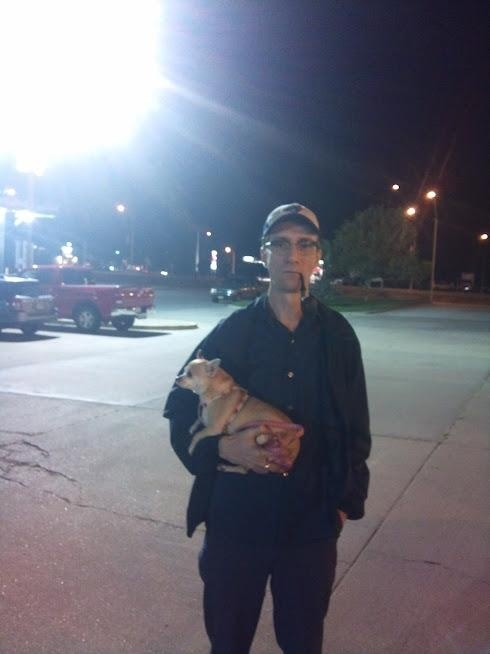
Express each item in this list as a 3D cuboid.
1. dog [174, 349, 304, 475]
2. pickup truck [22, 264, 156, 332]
[{"bbox_3d":[-0.022,0.303,1.553,0.430,0.319,0.268,19,-7,24],"label":"dog"},{"bbox_3d":[-5.908,-0.568,18.081,4.009,2.039,2.423,20,15,23],"label":"pickup truck"}]
